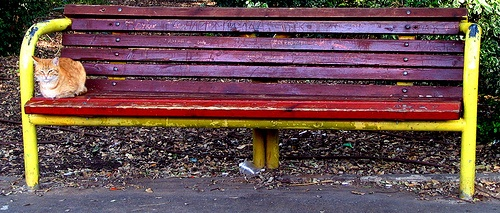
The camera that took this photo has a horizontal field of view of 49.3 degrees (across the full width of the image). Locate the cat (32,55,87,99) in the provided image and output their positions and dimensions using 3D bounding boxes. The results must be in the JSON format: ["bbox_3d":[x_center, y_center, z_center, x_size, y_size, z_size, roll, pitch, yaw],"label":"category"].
[{"bbox_3d":[-2.603,-0.406,7.443,0.530,0.513,0.751,0,26,31],"label":"cat"}]
